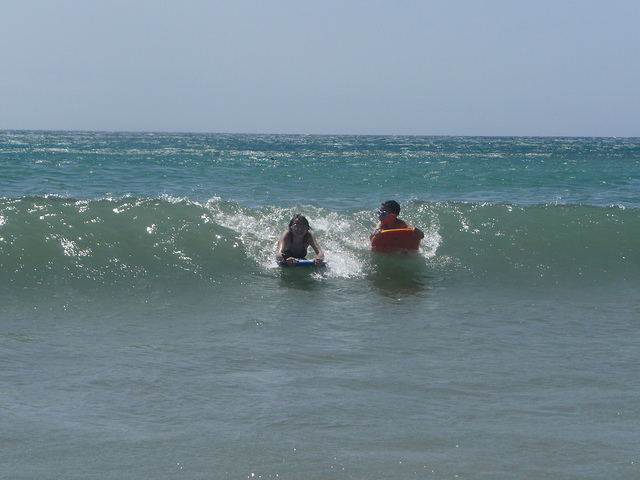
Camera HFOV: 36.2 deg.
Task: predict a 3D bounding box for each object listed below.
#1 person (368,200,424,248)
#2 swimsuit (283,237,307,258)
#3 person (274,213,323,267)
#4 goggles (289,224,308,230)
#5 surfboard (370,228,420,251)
[{"bbox_3d":[1.711,-0.324,21.930,1.204,1.004,0.350,-10,-31,11],"label":"person"},{"bbox_3d":[-0.512,0.215,20.362,0.311,0.330,0.212,3,-3,-8],"label":"swimsuit"},{"bbox_3d":[-0.435,-0.016,20.185,0.961,0.973,1.581,1,8,-5],"label":"person"},{"bbox_3d":[-0.449,-0.278,20.097,0.338,0.111,0.163,1,8,-1],"label":"goggles"},{"bbox_3d":[1.567,-0.004,20.828,0.525,0.139,0.722,5,-23,-1],"label":"surfboard"}]
